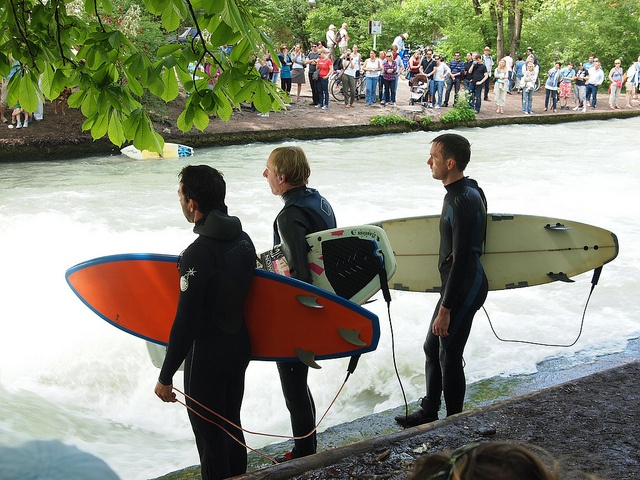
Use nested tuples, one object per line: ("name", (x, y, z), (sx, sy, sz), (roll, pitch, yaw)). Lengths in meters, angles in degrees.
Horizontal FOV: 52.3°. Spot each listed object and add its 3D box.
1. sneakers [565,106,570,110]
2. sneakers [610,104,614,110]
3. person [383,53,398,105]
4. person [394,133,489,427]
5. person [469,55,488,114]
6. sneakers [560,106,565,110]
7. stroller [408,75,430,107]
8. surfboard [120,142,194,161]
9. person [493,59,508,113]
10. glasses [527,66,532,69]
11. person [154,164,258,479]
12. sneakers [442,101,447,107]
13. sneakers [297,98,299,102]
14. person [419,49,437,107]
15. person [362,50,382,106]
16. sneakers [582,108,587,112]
("sneakers", (8.596, -4.588, 22.680), (0.118, 0.132, 0.329), (-2, 3, 18))
("sneakers", (10.381, -4.707, 23.237), (0.127, 0.096, 0.313), (20, 17, -3))
("person", (2.174, -5.020, 20.320), (0.453, 1.554, 1.310), (-1, 13, 6))
("person", (0.954, 0.357, 4.976), (0.557, 2.292, 0.614), (9, 17, 39))
("person", (4.999, -4.895, 20.400), (0.646, 1.783, 0.645), (-4, 13, -9))
("sneakers", (8.339, -4.567, 22.562), (0.145, 0.154, 0.145), (18, 32, 30))
("stroller", (3.140, -4.707, 20.488), (0.592, 0.962, 0.746), (-1, 7, 26))
("surfboard", (-3.682, -2.008, 14.773), (1.557, 0.335, 0.882), (-4, 12, -10))
("person", (5.778, -4.898, 20.818), (0.391, 1.699, 0.993), (1, 13, 14))
("glasses", (6.814, -5.591, 21.170), (0.074, 0.094, 0.091), (2, 25, 35))
("person", (-0.720, 0.569, 4.190), (0.512, 2.057, 0.583), (1, 13, 14))
("sneakers", (3.927, -4.309, 20.680), (0.128, 0.146, 0.380), (3, 18, 11))
("sneakers", (-0.704, -4.403, 20.560), (0.132, 0.086, 0.046), (4, -22, -6))
("person", (3.377, -5.053, 20.444), (0.527, 1.744, 0.934), (-2, 13, 3))
("person", (1.607, -4.968, 19.893), (0.568, 1.635, 1.248), (-2, 13, 4))
("sneakers", (8.955, -4.406, 22.151), (0.122, 0.148, 0.398), (8, 17, 22))
